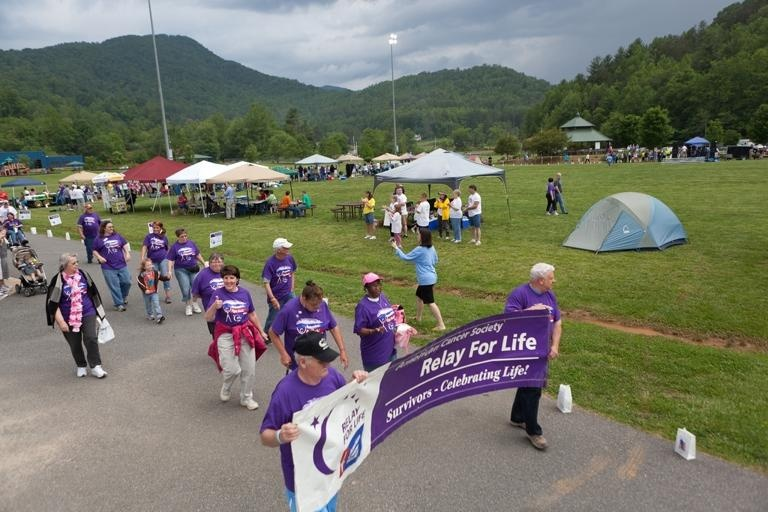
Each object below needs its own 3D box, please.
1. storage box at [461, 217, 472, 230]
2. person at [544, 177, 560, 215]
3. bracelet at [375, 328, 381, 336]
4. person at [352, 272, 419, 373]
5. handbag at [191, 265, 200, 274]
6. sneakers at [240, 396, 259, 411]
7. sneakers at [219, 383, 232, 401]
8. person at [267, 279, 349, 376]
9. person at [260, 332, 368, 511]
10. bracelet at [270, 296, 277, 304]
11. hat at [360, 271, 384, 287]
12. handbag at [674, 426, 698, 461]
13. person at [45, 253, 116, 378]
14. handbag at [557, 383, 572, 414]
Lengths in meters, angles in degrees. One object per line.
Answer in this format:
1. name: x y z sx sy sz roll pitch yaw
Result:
1. storage box: 3.829 -1.538 25.139 0.437 0.322 0.460 -1 2 10
2. person: 8.289 -2.933 26.496 0.504 1.795 1.530 1 14 19
3. bracelet: -0.137 1.448 10.318 0.102 0.049 0.140 -1 22 -6
4. person: -0.043 1.719 10.614 1.285 2.584 1.095 -10 21 -23
5. handbag: -5.426 0.379 15.335 0.185 0.189 0.192 -9 10 32
6. sneakers: -2.821 3.024 11.167 0.412 0.194 0.197 7 11 39
7. sneakers: -3.354 2.780 11.303 0.196 0.488 0.193 -1 -11 -39
8. person: -1.514 1.901 10.405 1.480 2.984 0.820 -4 19 -22
9. person: -1.210 2.682 8.279 1.384 3.166 0.721 -8 14 -17
10. bracelet: -2.554 1.009 12.241 0.112 0.151 0.109 -3 -3 -33
11. hat: -0.325 0.463 10.402 0.303 0.229 0.390 -12 -1 -39
12. handbag: 5.644 3.522 10.031 0.182 0.561 0.399 -2 11 -27
13. person: -6.828 1.376 11.977 1.116 2.824 0.787 -2 13 9
14. handbag: 3.702 2.944 11.027 0.189 0.527 0.415 -1 12 -14
